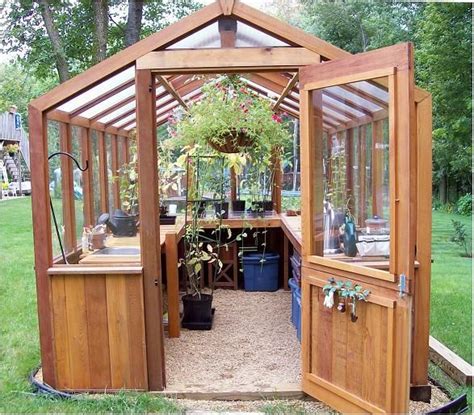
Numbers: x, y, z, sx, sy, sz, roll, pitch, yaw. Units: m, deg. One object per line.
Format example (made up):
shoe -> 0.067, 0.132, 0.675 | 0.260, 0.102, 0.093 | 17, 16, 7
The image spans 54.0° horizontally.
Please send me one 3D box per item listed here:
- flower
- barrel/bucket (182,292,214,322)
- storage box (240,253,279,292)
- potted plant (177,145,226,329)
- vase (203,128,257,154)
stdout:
flower -> -0.003, -0.803, 4.291 | 0.830, 0.633, 0.890 | -3, 11, -13
barrel/bucket -> -0.469, 1.174, 5.483 | 0.270, 0.245, 0.310 | -1, -7, -1
storage box -> 0.343, 0.937, 6.713 | 0.456, 0.456, 0.575 | 0, -3, 0
potted plant -> -0.449, 0.404, 5.619 | 0.483, 2.209, 0.544 | 4, -7, -18
vase -> -0.056, -0.582, 4.158 | 0.416, 0.176, 0.333 | -2, 1, -16
